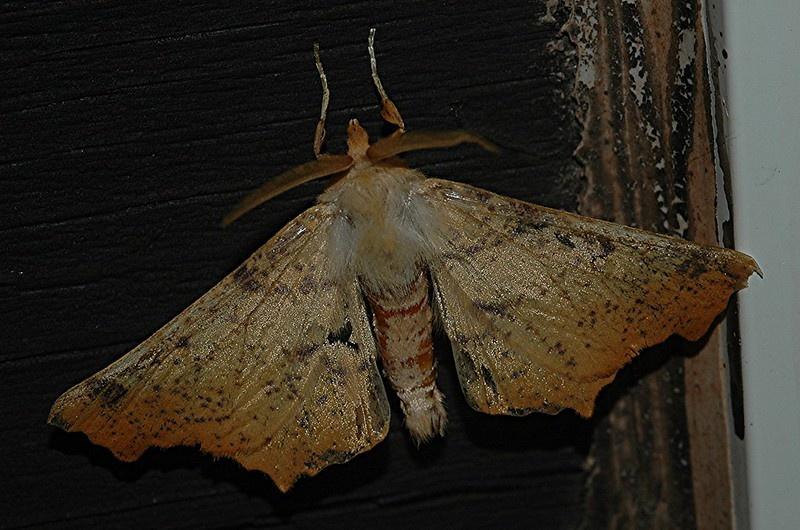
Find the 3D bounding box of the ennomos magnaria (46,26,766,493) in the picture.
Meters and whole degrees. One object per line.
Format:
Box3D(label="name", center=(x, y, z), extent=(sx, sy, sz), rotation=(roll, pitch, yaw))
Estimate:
Box3D(label="ennomos magnaria", center=(-0.001, 0.051, 3.856), extent=(2.698, 1.371, 0.326), rotation=(-10, -4, 1))
